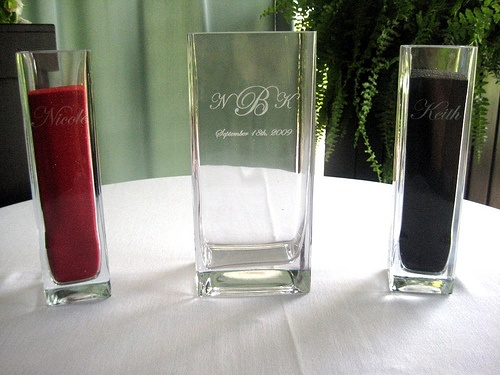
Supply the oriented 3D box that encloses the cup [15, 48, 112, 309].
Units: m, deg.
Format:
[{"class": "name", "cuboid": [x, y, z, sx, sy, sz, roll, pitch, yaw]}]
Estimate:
[{"class": "cup", "cuboid": [-0.257, -0.005, 0.569, 0.099, 0.355, 0.053, -8, 17, -22]}]
